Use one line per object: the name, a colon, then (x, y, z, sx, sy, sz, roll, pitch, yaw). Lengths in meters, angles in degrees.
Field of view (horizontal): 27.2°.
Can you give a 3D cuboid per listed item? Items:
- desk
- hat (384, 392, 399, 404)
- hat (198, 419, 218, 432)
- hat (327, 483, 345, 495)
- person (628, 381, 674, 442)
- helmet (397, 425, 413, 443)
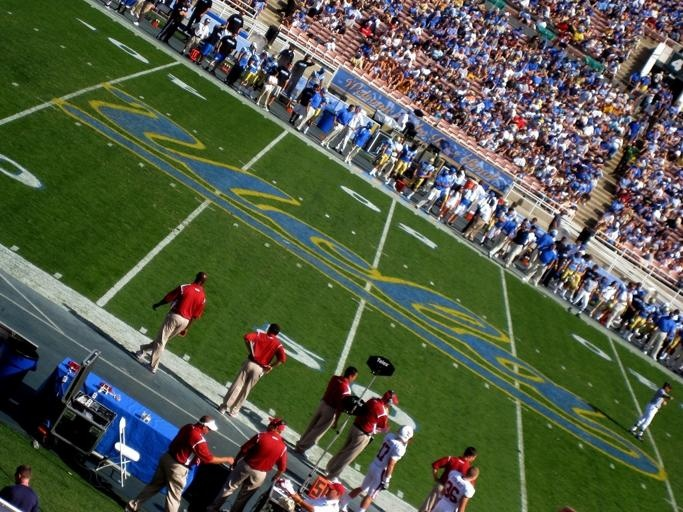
desk: (-5.427, 4.438, 36.144, 7.089, 1.768, 4.152, 37, -5, 4)
hat: (1.336, 3.793, 36.810, 0.398, 0.218, 0.277, 8, 12, -25)
hat: (-3.295, 4.222, 34.862, 0.429, 0.231, 0.324, 20, 13, -10)
hat: (-0.115, 5.991, 35.820, 0.327, 0.257, 0.251, -6, 15, -45)
person: (9.914, 5.155, 45.326, 0.761, 1.960, 1.587, 34, 2, -6)
helmet: (1.652, 4.678, 36.555, 0.312, 0.448, 0.355, -1, 57, -36)
